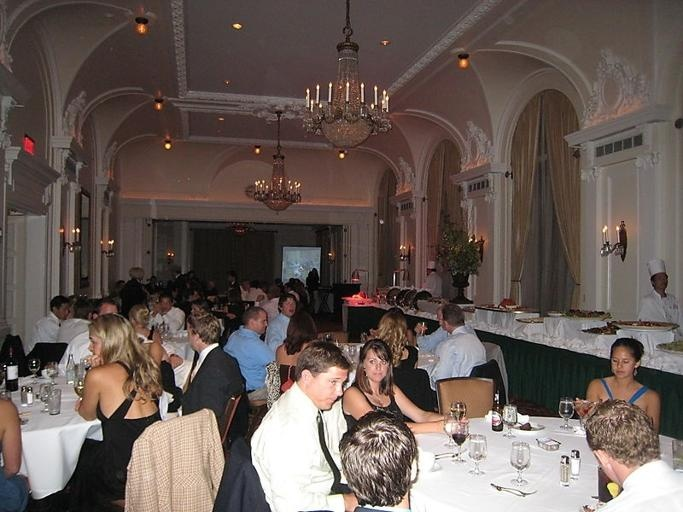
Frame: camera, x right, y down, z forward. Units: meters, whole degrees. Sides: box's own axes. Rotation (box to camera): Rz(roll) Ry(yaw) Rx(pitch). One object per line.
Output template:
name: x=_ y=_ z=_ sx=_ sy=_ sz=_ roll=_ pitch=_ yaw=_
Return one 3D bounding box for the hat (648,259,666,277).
hat: x=3.986 y=0.157 z=6.823 sx=0.182 sy=0.190 sz=0.231 roll=3 pitch=-28 yaw=7

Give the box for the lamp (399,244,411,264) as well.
lamp: x=1.707 y=-0.064 z=14.771 sx=0.187 sy=0.522 sz=0.576 roll=2 pitch=-7 yaw=-19

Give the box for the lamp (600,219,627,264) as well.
lamp: x=3.866 y=-0.183 z=7.795 sx=0.337 sy=0.556 sz=0.475 roll=0 pitch=-6 yaw=2

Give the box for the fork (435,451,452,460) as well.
fork: x=0.702 y=1.343 z=3.700 sx=0.138 sy=0.050 sz=0.040 roll=1 pitch=-3 yaw=-33

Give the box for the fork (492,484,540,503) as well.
fork: x=1.047 y=1.412 z=3.285 sx=0.290 sy=0.059 sz=0.089 roll=1 pitch=4 yaw=37

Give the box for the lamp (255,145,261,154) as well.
lamp: x=-2.338 y=-2.935 z=15.203 sx=0.148 sy=0.196 sz=0.165 roll=4 pitch=38 yaw=-3

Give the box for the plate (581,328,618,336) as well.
plate: x=3.062 y=0.881 z=6.433 sx=0.376 sy=0.084 sz=0.231 roll=-4 pitch=-8 yaw=27

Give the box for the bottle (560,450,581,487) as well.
bottle: x=1.445 y=1.336 z=3.414 sx=0.058 sy=0.156 sz=0.156 roll=-2 pitch=-3 yaw=41

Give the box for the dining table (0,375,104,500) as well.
dining table: x=-2.294 y=1.446 z=4.594 sx=0.734 sy=0.232 sz=0.827 roll=6 pitch=6 yaw=-6

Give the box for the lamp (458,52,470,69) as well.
lamp: x=2.015 y=-3.164 z=8.900 sx=0.154 sy=0.207 sz=0.168 roll=0 pitch=-3 yaw=-2

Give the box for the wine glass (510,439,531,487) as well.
wine glass: x=1.137 y=1.291 z=3.444 sx=0.108 sy=0.250 sz=0.230 roll=-2 pitch=-6 yaw=17

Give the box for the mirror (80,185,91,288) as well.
mirror: x=-5.181 y=-0.367 z=10.955 sx=0.079 sy=2.392 sz=1.880 roll=-1 pitch=2 yaw=-20

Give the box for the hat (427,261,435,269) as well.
hat: x=2.069 y=0.221 z=12.491 sx=0.152 sy=0.164 sz=0.162 roll=-2 pitch=-1 yaw=25

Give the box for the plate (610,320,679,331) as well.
plate: x=3.421 y=0.770 z=6.086 sx=0.624 sy=0.106 sz=0.485 roll=-1 pitch=-7 yaw=9
